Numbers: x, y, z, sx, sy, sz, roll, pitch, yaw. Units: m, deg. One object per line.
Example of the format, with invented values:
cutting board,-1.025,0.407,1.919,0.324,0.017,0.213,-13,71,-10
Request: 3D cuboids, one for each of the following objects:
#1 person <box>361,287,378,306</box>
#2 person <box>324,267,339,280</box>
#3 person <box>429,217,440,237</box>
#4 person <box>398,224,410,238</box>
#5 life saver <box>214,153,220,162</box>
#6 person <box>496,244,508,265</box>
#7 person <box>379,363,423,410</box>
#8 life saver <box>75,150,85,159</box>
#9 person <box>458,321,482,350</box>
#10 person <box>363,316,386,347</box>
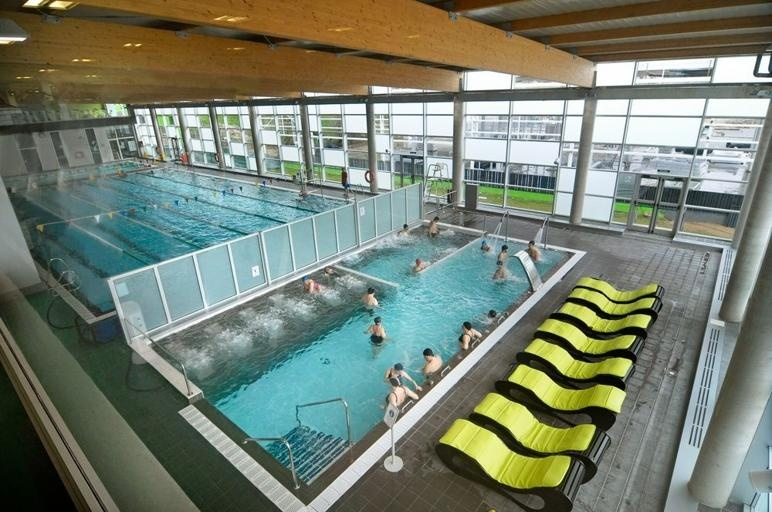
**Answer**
person,-0.540,1.171,13.316,0.476,0.597,0.778,0,20,-1
person,-1.946,0.626,15.155,0.437,0.143,0.915,-5,19,-15
person,1.917,-1.183,18.666,0.452,1.062,0.565,-8,37,-11
person,0.629,-1.067,18.275,0.464,0.556,0.995,0,20,0
life saver,-13.364,-7.792,34.789,0.203,0.697,1.843,-11,22,-24
person,3.904,0.001,15.244,0.377,0.791,0.512,4,30,12
person,0.295,2.928,9.824,0.796,0.327,0.954,-8,25,-11
life saver,-4.687,-1.553,6.744,0.039,0.124,0.152,6,10,31
person,2.086,2.130,11.407,0.462,0.794,0.376,-20,55,-13
person,-0.300,1.959,11.631,0.443,0.786,0.441,-1,23,-2
